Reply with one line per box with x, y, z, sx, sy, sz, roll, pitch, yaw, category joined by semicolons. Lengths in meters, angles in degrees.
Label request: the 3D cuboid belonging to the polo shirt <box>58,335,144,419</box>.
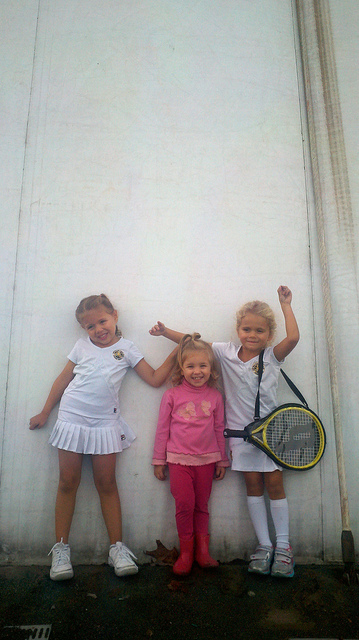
-0.409;0.304;2.957;0.433;0.422;0.219;-2;2;-5;polo shirt

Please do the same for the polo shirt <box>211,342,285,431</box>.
0.348;0.342;2.922;0.341;0.417;0.322;4;10;7;polo shirt

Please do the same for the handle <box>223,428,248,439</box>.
0.278;0.574;2.835;0.140;0.042;0.039;2;-5;19;handle

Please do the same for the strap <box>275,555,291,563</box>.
0.497;1.160;2.721;0.074;0.027;0.027;-1;2;-3;strap

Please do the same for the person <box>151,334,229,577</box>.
0.063;0.655;2.849;0.413;1.145;0.366;-2;2;-6;person

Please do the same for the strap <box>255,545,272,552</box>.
0.405;1.127;2.773;0.049;0.029;0.018;7;-33;19;strap

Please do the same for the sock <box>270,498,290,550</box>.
0.496;1.013;2.794;0.083;0.222;0.097;-1;2;6;sock
